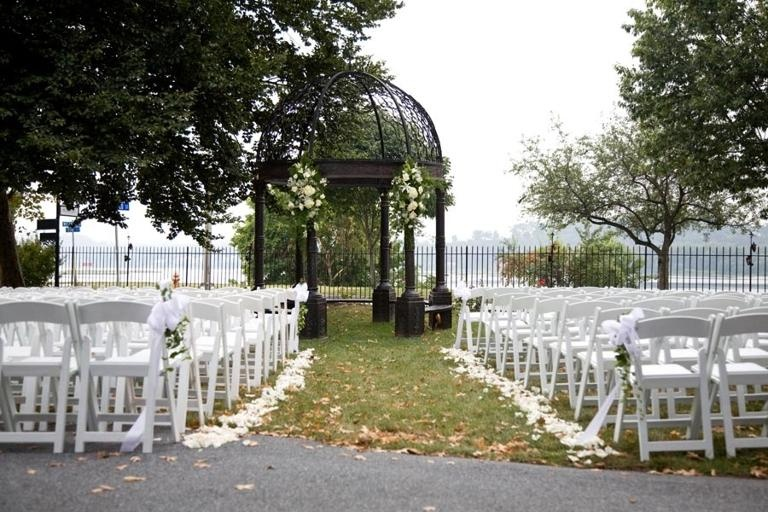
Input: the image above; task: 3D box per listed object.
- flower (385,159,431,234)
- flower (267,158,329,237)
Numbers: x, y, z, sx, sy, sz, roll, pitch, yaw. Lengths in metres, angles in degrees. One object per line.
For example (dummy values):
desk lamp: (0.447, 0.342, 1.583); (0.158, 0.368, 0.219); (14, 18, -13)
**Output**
flower: (0.801, -1.548, 19.257); (1.026, 1.235, 0.920); (-6, 18, 46)
flower: (-1.898, -1.279, 18.826); (1.257, 0.634, 1.618); (-22, 45, -37)
